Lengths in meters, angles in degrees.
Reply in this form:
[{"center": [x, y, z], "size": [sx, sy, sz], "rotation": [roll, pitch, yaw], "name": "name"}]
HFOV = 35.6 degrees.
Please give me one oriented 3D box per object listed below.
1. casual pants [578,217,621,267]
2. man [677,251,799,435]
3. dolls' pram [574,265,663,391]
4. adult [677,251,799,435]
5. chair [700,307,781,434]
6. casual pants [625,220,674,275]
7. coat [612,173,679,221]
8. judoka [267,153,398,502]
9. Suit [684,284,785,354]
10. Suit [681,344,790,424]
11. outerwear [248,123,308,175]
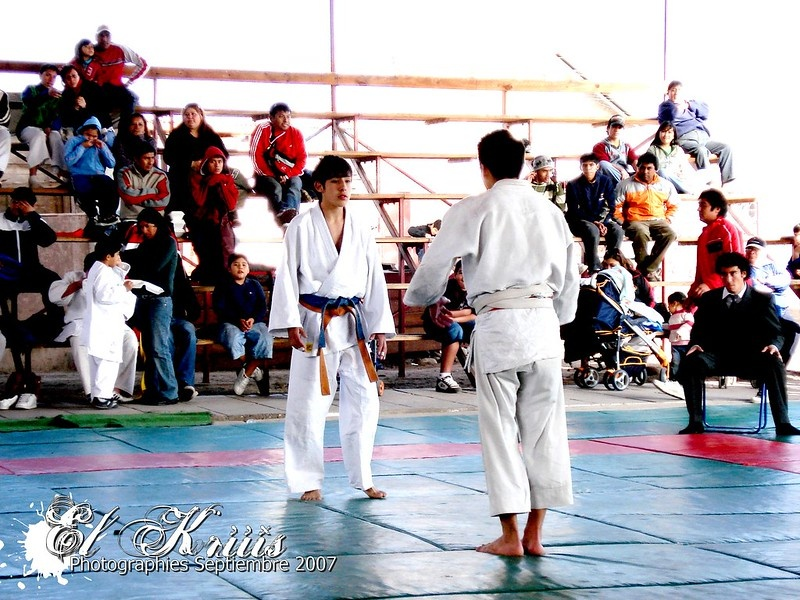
[{"center": [2.364, -0.630, 14.744], "size": [0.613, 0.618, 0.285], "rotation": [0, -1, -18], "name": "casual pants"}, {"center": [2.892, 0.389, 10.645], "size": [0.998, 1.555, 0.432], "rotation": [-1, -1, 14], "name": "man"}, {"center": [2.310, 0.326, 13.827], "size": [1.442, 1.297, 1.012], "rotation": [2, -2, -38], "name": "dolls' pram"}, {"center": [2.892, 0.389, 10.645], "size": [0.998, 1.555, 0.432], "rotation": [-1, -1, 14], "name": "adult"}, {"center": [3.102, 0.796, 11.295], "size": [0.688, 0.748, 0.502], "rotation": [6, -10, 20], "name": "chair"}, {"center": [3.016, -0.617, 14.942], "size": [0.609, 0.679, 0.244], "rotation": [-1, -1, 5], "name": "casual pants"}, {"center": [2.992, -1.196, 14.995], "size": [0.797, 0.541, 0.180], "rotation": [0, -1, -12], "name": "coat"}, {"center": [-0.450, 0.200, 8.375], "size": [0.834, 2.276, 0.249], "rotation": [0, -1, -10], "name": "judoka"}, {"center": [2.926, 0.152, 10.736], "size": [0.864, 0.486, 0.330], "rotation": [2, 12, 23], "name": "Suit"}, {"center": [2.928, 0.744, 10.845], "size": [1.001, 0.824, 0.818], "rotation": [-3, 10, 4], "name": "Suit"}, {"center": [-1.366, -1.662, 13.717], "size": [0.401, 0.592, 0.759], "rotation": [25, 19, 39], "name": "outerwear"}]
